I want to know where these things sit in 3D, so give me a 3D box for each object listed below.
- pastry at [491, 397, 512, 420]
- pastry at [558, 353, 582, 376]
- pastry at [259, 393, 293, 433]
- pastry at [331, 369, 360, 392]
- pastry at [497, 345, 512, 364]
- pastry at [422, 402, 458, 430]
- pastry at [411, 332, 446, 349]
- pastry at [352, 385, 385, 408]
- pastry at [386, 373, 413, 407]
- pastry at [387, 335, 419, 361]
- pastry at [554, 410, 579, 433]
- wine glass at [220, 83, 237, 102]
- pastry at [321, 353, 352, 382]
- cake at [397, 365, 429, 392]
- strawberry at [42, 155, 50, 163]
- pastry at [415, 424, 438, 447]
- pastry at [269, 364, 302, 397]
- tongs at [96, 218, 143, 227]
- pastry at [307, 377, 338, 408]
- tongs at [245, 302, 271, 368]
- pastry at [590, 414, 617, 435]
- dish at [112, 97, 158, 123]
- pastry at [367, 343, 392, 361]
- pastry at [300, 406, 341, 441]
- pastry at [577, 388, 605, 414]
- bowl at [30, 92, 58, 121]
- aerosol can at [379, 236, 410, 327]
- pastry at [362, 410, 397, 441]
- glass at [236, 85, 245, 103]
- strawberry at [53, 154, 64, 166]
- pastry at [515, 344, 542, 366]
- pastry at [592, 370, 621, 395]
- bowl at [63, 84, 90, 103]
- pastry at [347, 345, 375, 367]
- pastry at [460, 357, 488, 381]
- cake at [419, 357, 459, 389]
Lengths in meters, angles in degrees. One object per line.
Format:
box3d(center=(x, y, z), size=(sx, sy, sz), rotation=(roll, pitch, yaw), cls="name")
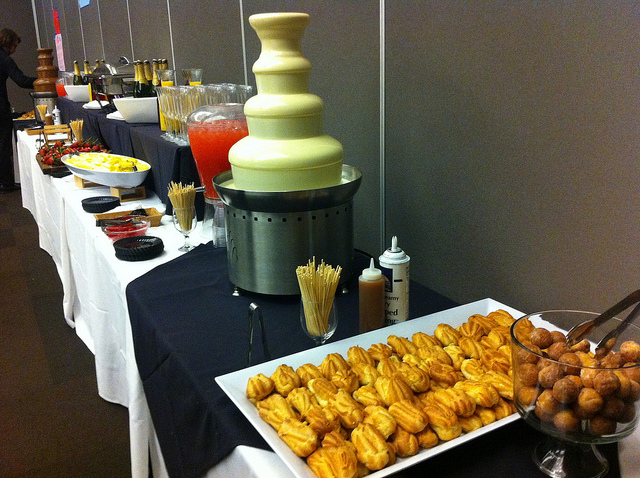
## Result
box3d(center=(0.298, 0.276, 0.836), size=(0.017, 0.012, 0.032), rotation=(-13, 18, 2), cls="pastry")
box3d(center=(0.355, 0.174, 0.727), size=(0.027, 0.029, 0.028), rotation=(-1, 6, -2), cls="pastry")
box3d(center=(-0.073, 0.282, 0.833), size=(0.040, 0.021, 0.051), rotation=(-40, 37, -17), cls="pastry")
box3d(center=(0.045, 0.243, 0.890), size=(0.033, 0.011, 0.034), rotation=(25, 15, 41), cls="pastry")
box3d(center=(0.337, 0.208, 0.948), size=(0.020, 0.028, 0.037), rotation=(-6, 52, -2), cls="pastry")
box3d(center=(0.189, 0.276, 0.801), size=(0.030, 0.015, 0.042), rotation=(-5, 15, -23), cls="pastry")
box3d(center=(0.200, 0.193, 0.981), size=(0.030, 0.017, 0.043), rotation=(19, 4, -20), cls="pastry")
box3d(center=(0.080, 0.264, 0.860), size=(0.027, 0.013, 0.037), rotation=(-14, 24, -25), cls="pastry")
box3d(center=(0.129, 0.252, 0.852), size=(0.040, 0.045, 0.040), rotation=(-4, 5, 45), cls="pastry")
box3d(center=(0.156, 0.204, 0.973), size=(0.033, 0.020, 0.051), rotation=(-17, 23, -22), cls="pastry")
box3d(center=(0.345, 0.253, 0.715), size=(0.029, 0.037, 0.031), rotation=(-7, 9, 10), cls="pastry")
box3d(center=(-0.340, -0.535, 1.881), size=(0.081, 0.084, 0.083), rotation=(-3, 17, -15), cls="wine glass")
box3d(center=(0.023, 0.227, 0.923), size=(0.041, 0.019, 0.041), rotation=(-15, 24, -35), cls="pastry")
box3d(center=(0.159, 0.236, 0.875), size=(0.046, 0.017, 0.033), rotation=(28, 35, 34), cls="cake")
box3d(center=(-1.308, -0.380, 2.417), size=(0.028, 0.014, 0.050), rotation=(-9, 26, -19), cls="strawberry")
box3d(center=(0.165, 0.303, 0.792), size=(0.026, 0.014, 0.027), rotation=(-11, 5, 42), cls="pastry")
box3d(center=(-0.066, 0.246, 0.898), size=(0.056, 0.031, 0.074), rotation=(-2, 21, -9), cls="pastry")
box3d(center=(-0.654, -0.054, 1.668), size=(0.126, 0.025, 0.027), rotation=(-2, 0, 0), cls="tongs")
box3d(center=(0.005, 0.257, 0.870), size=(0.030, 0.020, 0.047), rotation=(-4, 15, -12), cls="pastry")
box3d(center=(-0.130, 0.187, 1.016), size=(0.035, 0.122, 0.056), rotation=(-7, 21, -26), cls="tongs")
box3d(center=(0.392, 0.257, 0.708), size=(0.029, 0.032, 0.031), rotation=(-1, 2, -4), cls="pastry")
box3d(center=(-0.820, -0.579, 2.310), size=(0.209, 0.123, 0.132), rotation=(-2, 23, 3), cls="dish")
box3d(center=(0.112, 0.209, 0.957), size=(0.028, 0.014, 0.030), rotation=(8, 16, 26), cls="pastry")
box3d(center=(0.002, 0.285, 0.804), size=(0.039, 0.019, 0.049), rotation=(-7, 20, -9), cls="pastry")
box3d(center=(0.371, 0.222, 0.700), size=(0.034, 0.037, 0.011), rotation=(5, 23, 19), cls="pastry")
box3d(center=(-2.364, -1.127, 4.382), size=(0.235, 0.244, 0.206), rotation=(-3, 12, -8), cls="bowl")
box3d(center=(0.155, 0.104, 1.059), size=(0.057, 0.236, 0.061), rotation=(-3, 25, 2), cls="aerosol can")
box3d(center=(0.094, 0.286, 0.797), size=(0.033, 0.017, 0.041), rotation=(-39, 34, -25), cls="pastry")
box3d(center=(-0.311, -0.548, 1.934), size=(0.020, 0.061, 0.041), rotation=(-7, 23, -9), cls="glass")
box3d(center=(-1.242, -0.371, 2.432), size=(0.053, 0.058, 0.020), rotation=(-20, -16, 31), cls="strawberry")
box3d(center=(0.305, 0.170, 0.753), size=(0.029, 0.030, 0.029), rotation=(-35, 4, 24), cls="pastry")
box3d(center=(0.389, 0.194, 0.688), size=(0.031, 0.033, 0.018), rotation=(-10, -19, 16), cls="pastry")
box3d(center=(-1.683, -1.009, 3.544), size=(0.138, 0.092, 0.190), rotation=(-4, 15, -17), cls="bowl")
box3d(center=(0.072, 0.215, 0.943), size=(0.035, 0.033, 0.036), rotation=(8, 15, 35), cls="pastry")
box3d(center=(0.272, 0.229, 0.914), size=(0.034, 0.012, 0.031), rotation=(-21, 30, -36), cls="pastry")
box3d(center=(0.212, 0.231, 0.904), size=(0.040, 0.020, 0.054), rotation=(-9, 25, -35), cls="cake")
